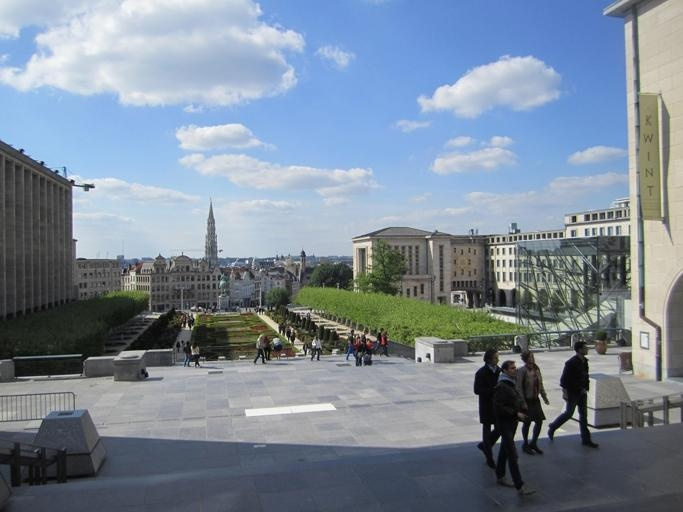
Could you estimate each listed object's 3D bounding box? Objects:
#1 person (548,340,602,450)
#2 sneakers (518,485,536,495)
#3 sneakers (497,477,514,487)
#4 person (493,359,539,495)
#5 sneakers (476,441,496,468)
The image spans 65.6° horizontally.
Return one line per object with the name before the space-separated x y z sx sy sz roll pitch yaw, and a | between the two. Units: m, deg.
person | 5.897 3.456 13.589 1.007 2.626 0.944 -3 -5 24
sneakers | 3.756 4.806 10.848 0.140 0.170 0.403 -11 -4 -41
sneakers | 3.461 4.825 11.289 0.114 0.148 0.346 -2 -6 -33
person | 3.616 3.601 11.461 0.664 2.634 1.145 -2 -4 18
sneakers | 3.349 4.631 12.412 0.197 0.276 0.642 1 -3 -9
